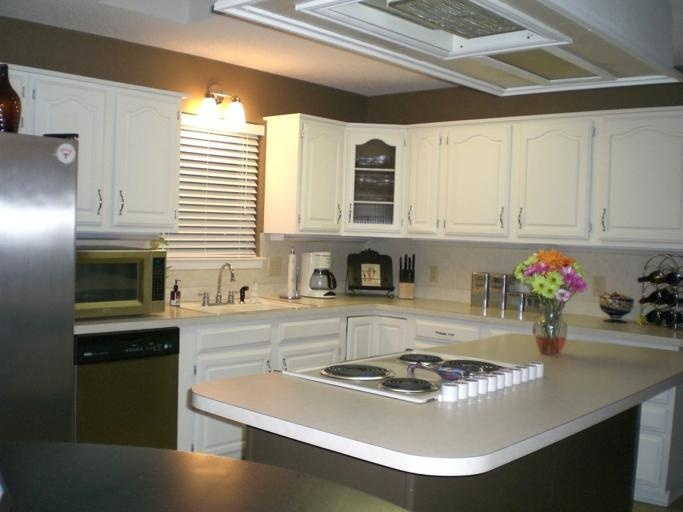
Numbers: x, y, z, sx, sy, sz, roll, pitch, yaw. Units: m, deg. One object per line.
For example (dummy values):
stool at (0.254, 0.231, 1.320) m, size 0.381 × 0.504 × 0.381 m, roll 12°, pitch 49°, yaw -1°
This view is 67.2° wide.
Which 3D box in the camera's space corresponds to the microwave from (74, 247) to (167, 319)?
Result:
microwave at (-1.428, 0.210, 3.381) m, size 0.662 × 0.429 × 0.355 m, roll -2°, pitch -13°, yaw -2°

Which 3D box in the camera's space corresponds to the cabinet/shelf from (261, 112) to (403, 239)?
cabinet/shelf at (-0.075, -0.714, 4.627) m, size 1.234 × 1.057 × 0.280 m, roll 0°, pitch 2°, yaw -10°

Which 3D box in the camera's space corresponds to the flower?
flower at (1.118, 0.206, 2.737) m, size 0.291 × 0.422 × 0.289 m, roll 12°, pitch 36°, yaw 19°

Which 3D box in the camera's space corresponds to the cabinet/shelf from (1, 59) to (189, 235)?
cabinet/shelf at (-1.525, -0.698, 3.616) m, size 1.158 × 0.983 × 0.439 m, roll 8°, pitch 14°, yaw 6°

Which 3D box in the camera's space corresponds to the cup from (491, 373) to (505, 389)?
cup at (0.638, 0.501, 2.068) m, size 0.060 × 0.057 × 0.053 m, roll 2°, pitch 5°, yaw 36°

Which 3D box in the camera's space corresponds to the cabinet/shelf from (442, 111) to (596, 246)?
cabinet/shelf at (1.495, -0.613, 4.410) m, size 1.174 × 1.058 × 0.510 m, roll 2°, pitch 0°, yaw 18°

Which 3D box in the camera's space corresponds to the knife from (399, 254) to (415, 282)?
knife at (0.657, 0.117, 5.112) m, size 0.161 × 0.268 × 0.300 m, roll 0°, pitch 2°, yaw 7°

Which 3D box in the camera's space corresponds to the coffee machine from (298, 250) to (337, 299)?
coffee machine at (-0.212, 0.172, 4.741) m, size 0.263 × 0.417 × 0.433 m, roll 0°, pitch 0°, yaw -42°

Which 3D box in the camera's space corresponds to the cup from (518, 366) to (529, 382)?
cup at (0.784, 0.503, 2.196) m, size 0.045 × 0.058 × 0.060 m, roll 4°, pitch 9°, yaw 27°

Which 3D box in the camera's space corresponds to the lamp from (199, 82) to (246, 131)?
lamp at (-0.998, -1.246, 4.268) m, size 0.380 × 0.351 × 0.382 m, roll 0°, pitch 3°, yaw -13°

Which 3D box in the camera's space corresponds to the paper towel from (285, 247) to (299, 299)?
paper towel at (-0.448, 0.140, 4.590) m, size 0.092 × 0.418 × 0.086 m, roll -1°, pitch 2°, yaw 21°

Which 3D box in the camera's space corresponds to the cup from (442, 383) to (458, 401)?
cup at (0.398, 0.501, 1.883) m, size 0.059 × 0.058 × 0.055 m, roll -1°, pitch 5°, yaw 0°

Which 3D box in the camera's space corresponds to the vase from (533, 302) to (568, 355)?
vase at (1.143, 0.385, 2.803) m, size 0.184 × 0.296 × 0.182 m, roll 3°, pitch -4°, yaw 3°
